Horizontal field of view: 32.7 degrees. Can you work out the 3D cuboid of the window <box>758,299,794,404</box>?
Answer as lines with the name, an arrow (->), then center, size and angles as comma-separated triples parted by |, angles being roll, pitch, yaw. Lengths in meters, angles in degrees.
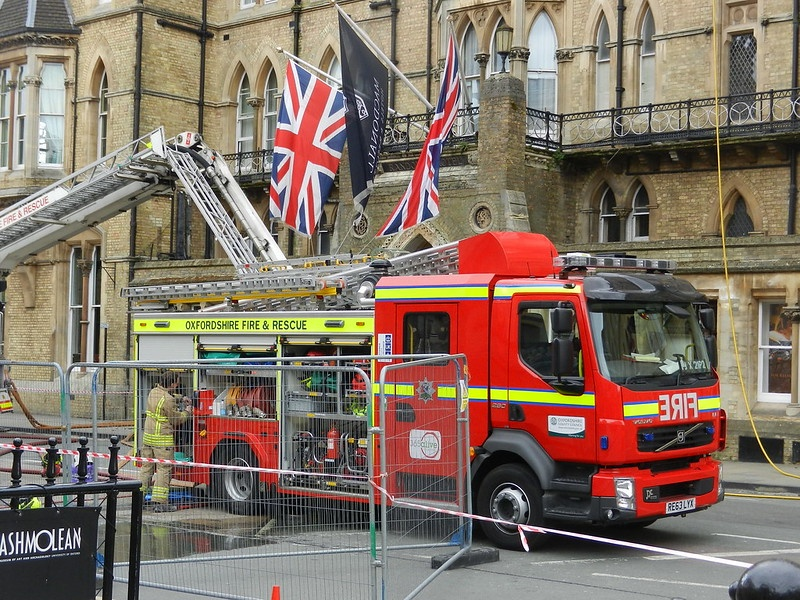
window -> 7.101, 0.962, 25.870 | 0.634, 1.912, 0.284 | -3, -5, 16

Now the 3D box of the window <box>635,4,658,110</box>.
window -> 5.559, -5.558, 30.785 | 0.431, 2.175, 0.329 | -3, -5, 18

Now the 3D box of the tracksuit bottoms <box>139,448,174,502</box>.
tracksuit bottoms -> -3.053, 2.198, 17.257 | 0.379, 0.714, 0.816 | 2, -6, -39

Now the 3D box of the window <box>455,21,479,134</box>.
window -> 1.577, -5.451, 32.594 | 0.130, 2.354, 0.593 | 5, 8, 26

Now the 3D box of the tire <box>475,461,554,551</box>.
tire -> 1.600, 2.855, 18.773 | 1.167, 1.209, 0.450 | -5, -3, 44

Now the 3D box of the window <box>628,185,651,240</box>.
window -> 5.357, -2.031, 30.610 | 0.214, 1.635, 0.794 | 5, 4, 36

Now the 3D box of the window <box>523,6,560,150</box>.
window -> 3.260, -5.241, 31.797 | 0.960, 0.221, 3.580 | 2, -46, 7

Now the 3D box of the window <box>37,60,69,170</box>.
window -> -9.586, -5.124, 37.597 | 0.898, 3.088, 0.218 | 1, -9, -15

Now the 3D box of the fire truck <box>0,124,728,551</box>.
fire truck -> -2.932, 0.148, 22.317 | 15.312, 7.241, 5.248 | -1, -1, 39

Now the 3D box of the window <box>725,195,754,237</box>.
window -> 7.271, -1.850, 29.076 | 0.052, 1.268, 0.961 | -5, 5, -34

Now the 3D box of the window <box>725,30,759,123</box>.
window -> 7.411, -5.084, 29.442 | 0.638, 1.996, 0.047 | -12, -45, 27

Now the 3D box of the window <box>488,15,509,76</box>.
window -> 2.188, -5.305, 28.568 | 0.366, 1.021, 0.422 | 3, 7, 14

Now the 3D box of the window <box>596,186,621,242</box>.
window -> 4.820, -1.943, 31.089 | 0.605, 1.372, 0.156 | -4, 0, -15
